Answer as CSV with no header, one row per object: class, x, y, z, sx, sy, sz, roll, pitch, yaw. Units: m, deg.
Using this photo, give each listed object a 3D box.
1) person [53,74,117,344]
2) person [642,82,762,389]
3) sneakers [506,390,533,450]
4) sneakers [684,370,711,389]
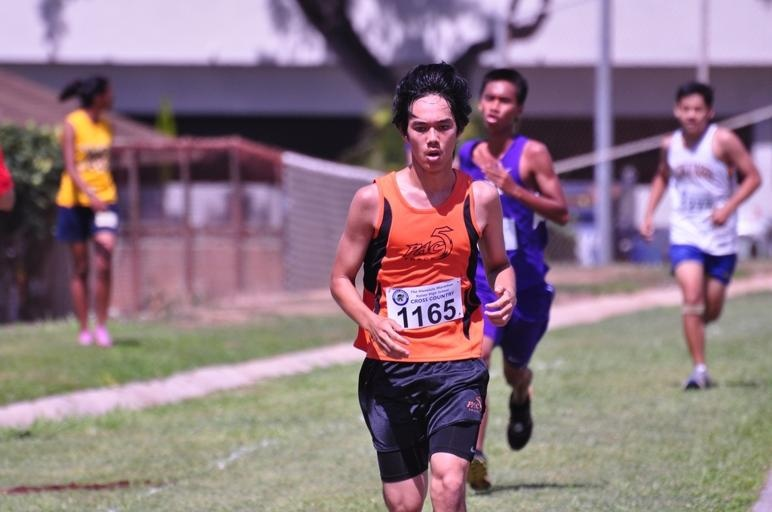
person,-1.799,-0.257,6.702,0.358,1.603,0.238,-2,5,-14
person,1.987,-0.114,6.894,0.542,1.896,0.208,1,6,18
sneakers,0.927,1.139,7.752,0.135,0.418,0.162,3,15,12
sneakers,1.936,0.776,6.957,0.082,0.113,0.160,1,4,-14
